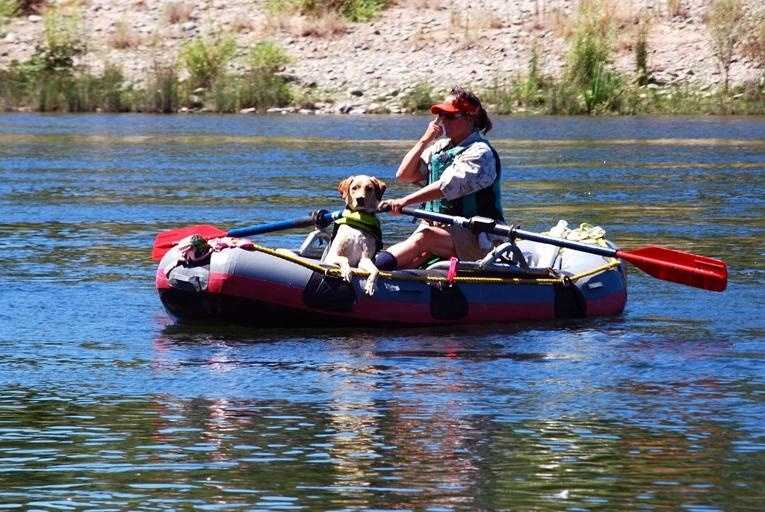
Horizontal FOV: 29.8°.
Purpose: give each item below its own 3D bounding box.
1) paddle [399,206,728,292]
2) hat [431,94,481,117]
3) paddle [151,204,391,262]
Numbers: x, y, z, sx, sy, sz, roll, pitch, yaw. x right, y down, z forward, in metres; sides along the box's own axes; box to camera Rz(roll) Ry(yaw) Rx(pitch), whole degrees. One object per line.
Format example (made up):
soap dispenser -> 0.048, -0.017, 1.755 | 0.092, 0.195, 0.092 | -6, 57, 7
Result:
paddle -> 1.951, -0.152, 16.168 | 3.806, 0.196, 0.224 | 11, 23, 9
hat -> 0.786, -1.658, 15.607 | 0.474, 0.113, 0.238 | 4, -10, -9
paddle -> -1.089, -0.344, 15.719 | 2.586, 0.173, 0.572 | -9, -4, -18
